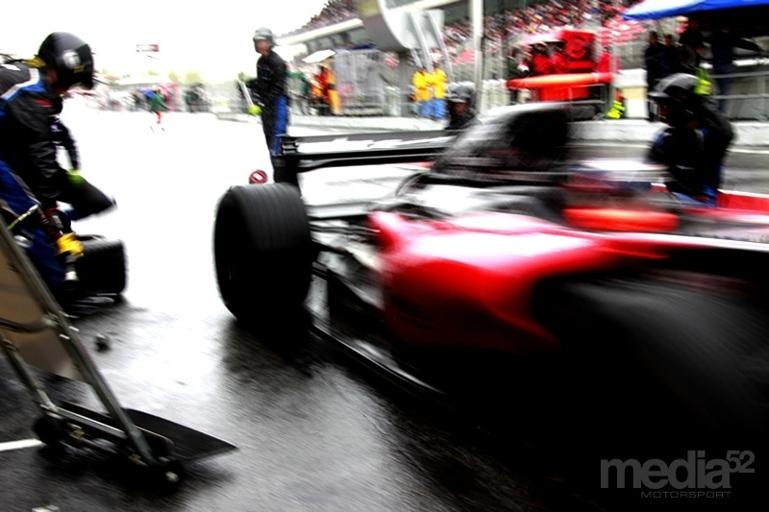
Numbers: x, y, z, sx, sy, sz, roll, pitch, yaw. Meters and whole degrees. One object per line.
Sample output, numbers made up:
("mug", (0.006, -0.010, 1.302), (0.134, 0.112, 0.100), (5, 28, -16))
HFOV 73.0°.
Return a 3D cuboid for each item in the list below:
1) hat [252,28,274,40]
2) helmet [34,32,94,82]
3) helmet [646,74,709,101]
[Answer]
("hat", (-1.977, -3.606, 8.446), (0.310, 0.191, 0.185), (-5, 23, -4))
("helmet", (-2.278, -1.409, 3.730), (0.369, 0.390, 0.264), (-13, 26, -17))
("helmet", (2.296, -1.353, 4.129), (0.410, 0.091, 0.235), (-1, 5, -23))
